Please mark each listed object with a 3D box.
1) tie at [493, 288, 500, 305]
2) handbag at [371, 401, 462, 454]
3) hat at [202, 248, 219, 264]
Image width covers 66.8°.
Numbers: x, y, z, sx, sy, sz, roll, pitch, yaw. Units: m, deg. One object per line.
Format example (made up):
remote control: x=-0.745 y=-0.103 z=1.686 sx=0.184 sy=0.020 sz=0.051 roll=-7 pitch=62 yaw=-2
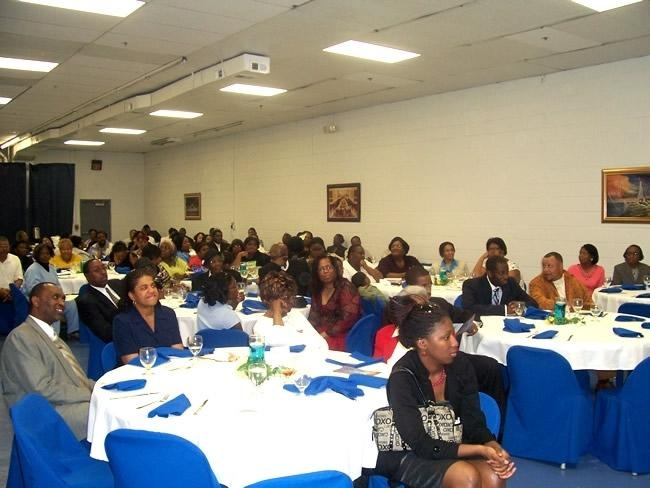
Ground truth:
tie: x=1.856 y=0.572 z=5.322 sx=0.076 sy=0.139 sz=0.035 roll=2 pitch=-8 yaw=15
handbag: x=0.501 y=1.038 z=2.759 sx=0.356 sy=0.263 sz=0.121 roll=-1 pitch=-8 yaw=-10
hat: x=-1.484 y=0.147 z=6.356 sx=0.208 sy=0.182 sz=0.153 roll=-17 pitch=14 yaw=-19
